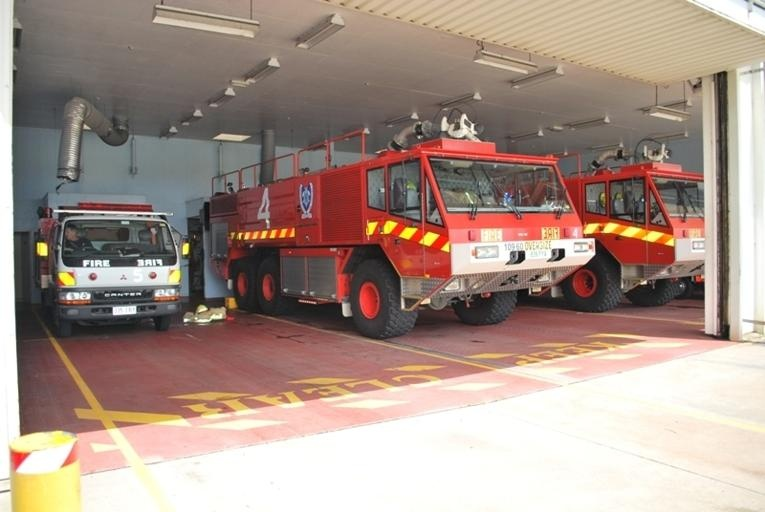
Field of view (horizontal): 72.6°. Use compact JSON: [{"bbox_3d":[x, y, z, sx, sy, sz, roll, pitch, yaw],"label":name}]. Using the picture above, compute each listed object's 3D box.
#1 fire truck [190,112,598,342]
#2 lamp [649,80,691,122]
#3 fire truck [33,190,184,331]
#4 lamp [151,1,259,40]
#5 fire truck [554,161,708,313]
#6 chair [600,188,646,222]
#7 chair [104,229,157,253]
[{"bbox_3d":[-0.847,-0.662,13.421,3.837,4.679,11.384,-3,3,-36],"label":"fire truck"},{"bbox_3d":[8.362,-4.510,15.069,1.516,1.714,0.572,5,-6,-39],"label":"lamp"},{"bbox_3d":[-6.725,0.146,12.569,2.935,3.239,6.019,0,-1,-37],"label":"fire truck"},{"bbox_3d":[-3.010,-3.996,8.868,1.717,0.297,0.417,-3,6,-18],"label":"lamp"},{"bbox_3d":[6.134,-0.364,13.629,3.225,3.610,4.708,7,-2,-31],"label":"fire truck"},{"bbox_3d":[5.596,-1.247,12.061,0.575,0.842,0.870,1,-2,-33],"label":"chair"},{"bbox_3d":[-4.987,-0.256,10.392,0.489,0.357,0.738,4,-10,-38],"label":"chair"}]
